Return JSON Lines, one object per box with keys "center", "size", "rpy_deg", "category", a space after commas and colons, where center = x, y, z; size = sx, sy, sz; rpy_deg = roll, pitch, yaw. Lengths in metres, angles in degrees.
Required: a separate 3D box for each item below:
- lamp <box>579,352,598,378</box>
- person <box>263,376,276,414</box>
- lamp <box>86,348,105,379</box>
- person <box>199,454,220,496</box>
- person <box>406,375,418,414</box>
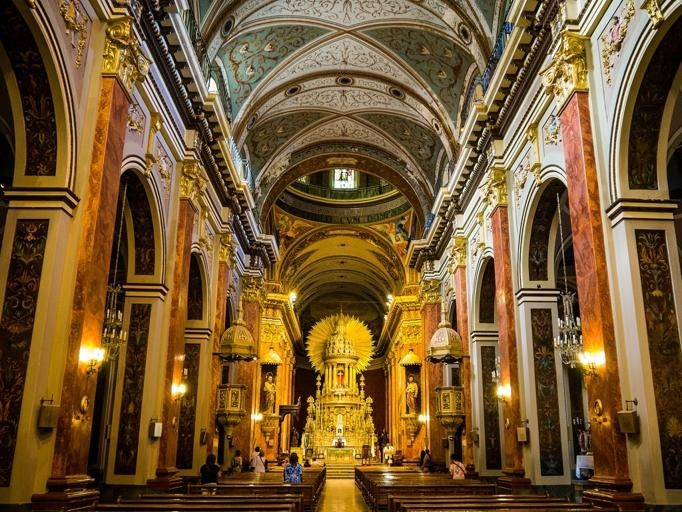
{"center": [3.416, 1.481, 7.013], "size": [0.116, 0.383, 0.437], "rpy_deg": [-3, -24, 12], "category": "lamp"}
{"center": [-3.034, 5.773, 21.257], "size": [0.534, 1.692, 0.856], "rpy_deg": [6, -22, -10], "category": "person"}
{"center": [-3.290, 1.411, 6.815], "size": [0.123, 0.416, 0.512], "rpy_deg": [6, -24, -13], "category": "lamp"}
{"center": [-2.832, 4.717, 10.809], "size": [0.353, 1.211, 0.370], "rpy_deg": [8, 18, -8], "category": "person"}
{"center": [3.039, 5.937, 21.739], "size": [0.505, 1.781, 0.867], "rpy_deg": [-1, -22, 7], "category": "person"}
